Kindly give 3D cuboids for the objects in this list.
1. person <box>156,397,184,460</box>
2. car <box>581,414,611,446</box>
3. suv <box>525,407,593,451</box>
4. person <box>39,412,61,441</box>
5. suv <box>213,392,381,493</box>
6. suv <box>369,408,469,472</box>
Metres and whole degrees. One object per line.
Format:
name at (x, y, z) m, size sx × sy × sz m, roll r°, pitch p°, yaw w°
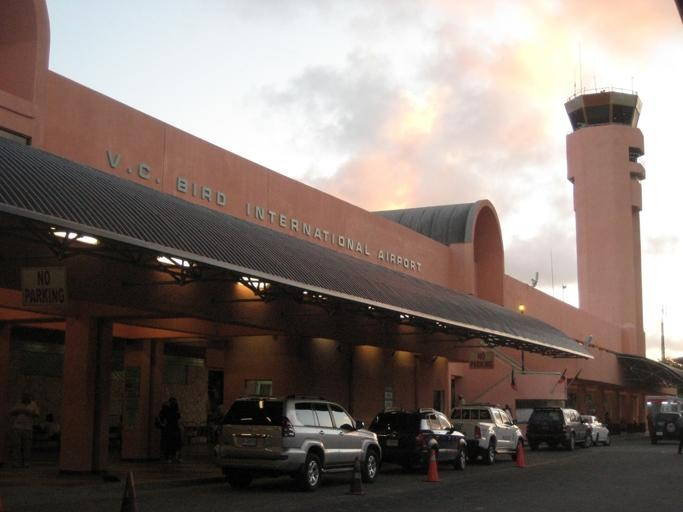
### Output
person at (-6.282, 6.321, 26.242) m, size 0.807 × 2.171 × 1.423 m, roll 2°, pitch -14°, yaw -10°
car at (14.832, 10.506, 42.753) m, size 1.652 × 1.755 × 3.801 m, roll -5°, pitch -9°, yaw 30°
suv at (11.509, 9.135, 38.234) m, size 2.046 × 1.950 × 3.960 m, roll -4°, pitch -5°, yaw 30°
person at (-12.215, 7.243, 30.342) m, size 0.353 × 1.118 × 0.729 m, roll 0°, pitch 18°, yaw 28°
suv at (-1.019, 5.055, 19.436) m, size 4.193 × 2.401 × 1.436 m, roll 11°, pitch -19°, yaw -38°
suv at (2.720, 6.108, 24.529) m, size 1.868 × 1.566 × 3.193 m, roll -6°, pitch -8°, yaw 36°
